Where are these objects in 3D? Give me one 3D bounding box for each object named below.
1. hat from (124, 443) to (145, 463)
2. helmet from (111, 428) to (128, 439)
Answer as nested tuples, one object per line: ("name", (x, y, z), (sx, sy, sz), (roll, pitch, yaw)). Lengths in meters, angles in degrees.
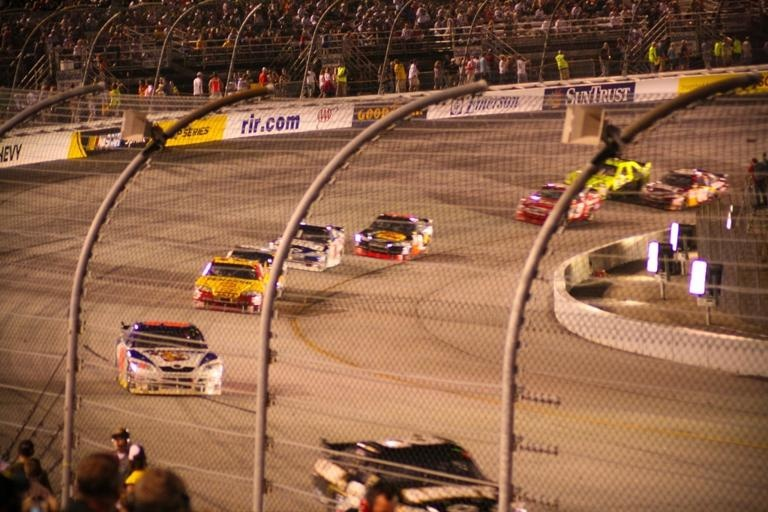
("hat", (-2.854, 2.248, 13.893), (0.175, 0.246, 0.243), (3, 16, -2))
("helmet", (-3.077, 2.064, 14.105), (0.166, 0.134, 0.130), (-11, 46, -18))
